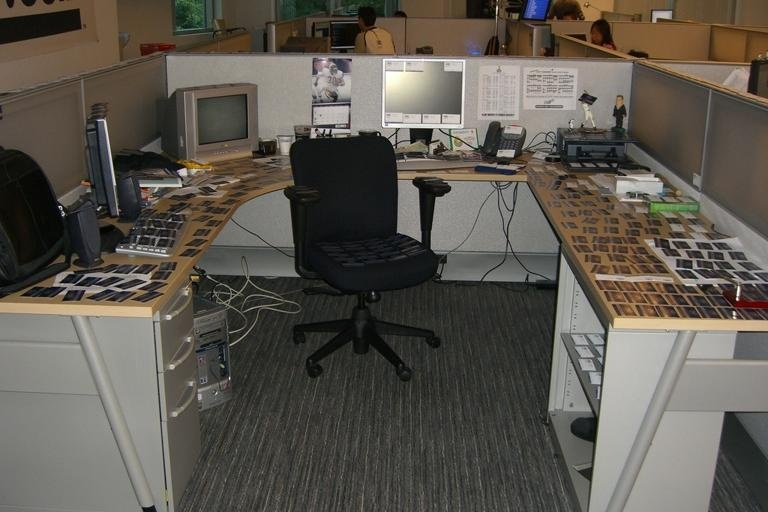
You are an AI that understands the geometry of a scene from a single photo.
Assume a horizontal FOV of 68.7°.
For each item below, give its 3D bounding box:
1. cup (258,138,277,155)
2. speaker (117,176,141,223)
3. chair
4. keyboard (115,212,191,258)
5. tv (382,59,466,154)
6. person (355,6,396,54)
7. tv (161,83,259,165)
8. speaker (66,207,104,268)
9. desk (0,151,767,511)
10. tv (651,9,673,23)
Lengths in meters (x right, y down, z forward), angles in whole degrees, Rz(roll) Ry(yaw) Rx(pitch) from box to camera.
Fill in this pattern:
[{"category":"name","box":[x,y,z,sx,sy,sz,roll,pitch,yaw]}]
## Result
[{"category":"cup","box":[-0.822,-0.770,3.996,0.121,0.105,0.123,-2,8,0]},{"category":"speaker","box":[-1.263,-0.278,2.782,0.124,0.245,0.170,-2,18,-13]},{"category":"chair","box":[-0.119,-0.021,3.242,0.941,1.255,0.839,-10,20,-34]},{"category":"keyboard","box":[-1.030,-0.096,2.537,0.180,0.056,0.312,3,30,-2]},{"category":"tv","box":[0.285,-1.108,4.025,0.582,0.594,0.196,3,15,7]},{"category":"person","box":[-0.112,-2.535,6.272,0.413,0.478,1.298,-2,22,-2]},{"category":"tv","box":[-1.227,-0.959,3.932,0.473,0.491,0.610,19,29,29]},{"category":"speaker","box":[-1.259,-0.095,2.349,0.135,0.258,0.132,12,20,42]},{"category":"desk","box":[0.594,0.177,2.912,2.334,0.864,1.823,0,23,2]},{"category":"tv","box":[4.215,-3.663,8.564,0.292,0.171,1.091,9,24,22]}]
